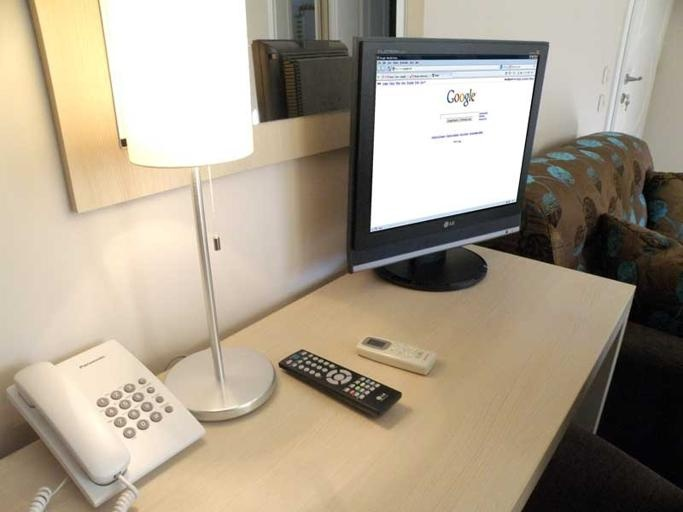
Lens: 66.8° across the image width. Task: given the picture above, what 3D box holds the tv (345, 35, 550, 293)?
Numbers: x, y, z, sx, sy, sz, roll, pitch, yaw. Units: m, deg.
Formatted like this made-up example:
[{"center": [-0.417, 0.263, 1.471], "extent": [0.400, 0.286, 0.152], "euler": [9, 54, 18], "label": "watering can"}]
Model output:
[{"center": [0.234, -0.213, 1.221], "extent": [0.488, 0.509, 0.258], "euler": [-18, 35, -31], "label": "tv"}]

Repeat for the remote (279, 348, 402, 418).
[{"center": [-0.006, 0.226, 0.952], "extent": [0.262, 0.032, 0.088], "euler": [23, 37, 35], "label": "remote"}]

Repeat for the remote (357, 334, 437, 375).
[{"center": [0.108, 0.195, 1.010], "extent": [0.137, 0.031, 0.065], "euler": [15, 34, 26], "label": "remote"}]

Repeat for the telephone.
[{"center": [-0.355, 0.205, 0.779], "extent": [0.262, 0.083, 0.193], "euler": [41, 41, 16], "label": "telephone"}]
